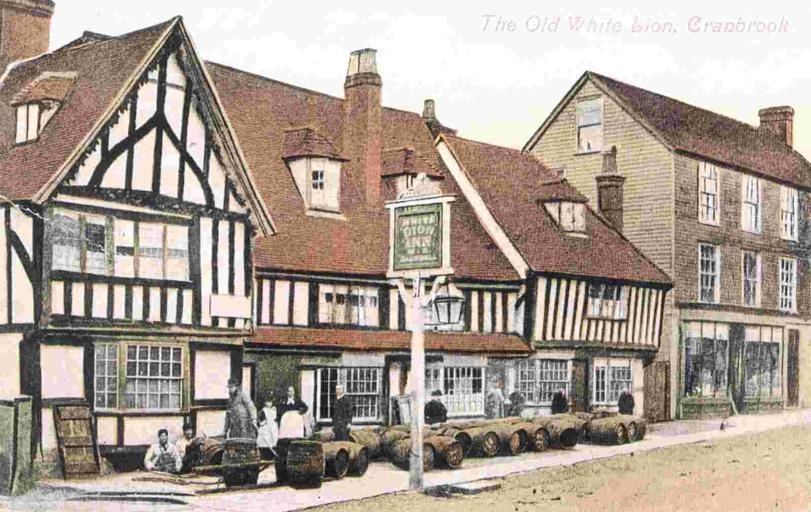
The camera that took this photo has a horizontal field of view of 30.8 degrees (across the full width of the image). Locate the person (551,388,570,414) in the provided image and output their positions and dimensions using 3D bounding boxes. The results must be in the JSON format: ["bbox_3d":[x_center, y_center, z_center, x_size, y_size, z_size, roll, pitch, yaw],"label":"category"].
[{"bbox_3d":[4.506,4.299,43.125,0.605,1.146,0.614,-1,-2,11],"label":"person"}]

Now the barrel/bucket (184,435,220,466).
[{"bbox_3d":[-5.033,4.892,36.737,0.795,0.794,0.658,3,-15,-10],"label":"barrel/bucket"}]
